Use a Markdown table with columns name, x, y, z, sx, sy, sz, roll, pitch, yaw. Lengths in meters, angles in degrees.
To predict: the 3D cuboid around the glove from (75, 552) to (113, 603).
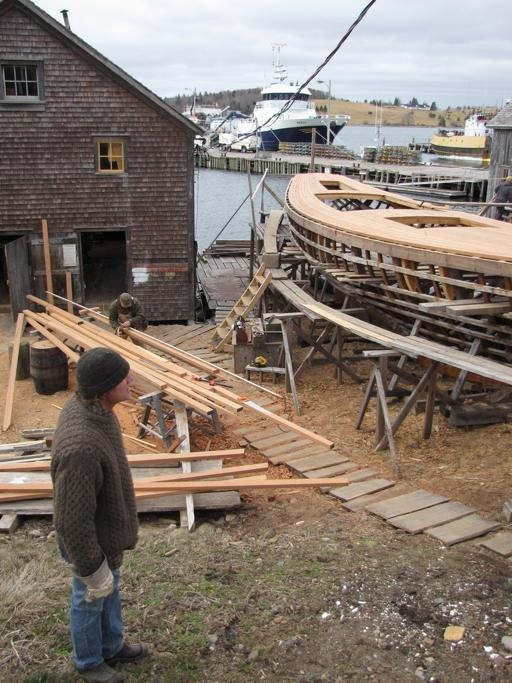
| name | x | y | z | sx | sy | sz | roll | pitch | yaw |
| --- | --- | --- | --- | --- | --- | --- | --- | --- | --- |
| glove | -0.716 | 1.069 | 2.646 | 0.140 | 0.206 | 0.200 | -3 | 7 | -15 |

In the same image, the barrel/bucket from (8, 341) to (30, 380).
| name | x | y | z | sx | sy | sz | roll | pitch | yaw |
| --- | --- | --- | --- | --- | --- | --- | --- | --- | --- |
| barrel/bucket | -4.044 | 0.339 | 10.252 | 0.241 | 0.678 | 0.243 | -1 | 7 | 0 |

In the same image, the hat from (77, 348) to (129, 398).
| name | x | y | z | sx | sy | sz | roll | pitch | yaw |
| --- | --- | --- | --- | --- | --- | --- | --- | --- | --- |
| hat | -0.695 | 0.138 | 2.675 | 0.226 | 0.229 | 0.154 | -2 | 7 | -13 |
